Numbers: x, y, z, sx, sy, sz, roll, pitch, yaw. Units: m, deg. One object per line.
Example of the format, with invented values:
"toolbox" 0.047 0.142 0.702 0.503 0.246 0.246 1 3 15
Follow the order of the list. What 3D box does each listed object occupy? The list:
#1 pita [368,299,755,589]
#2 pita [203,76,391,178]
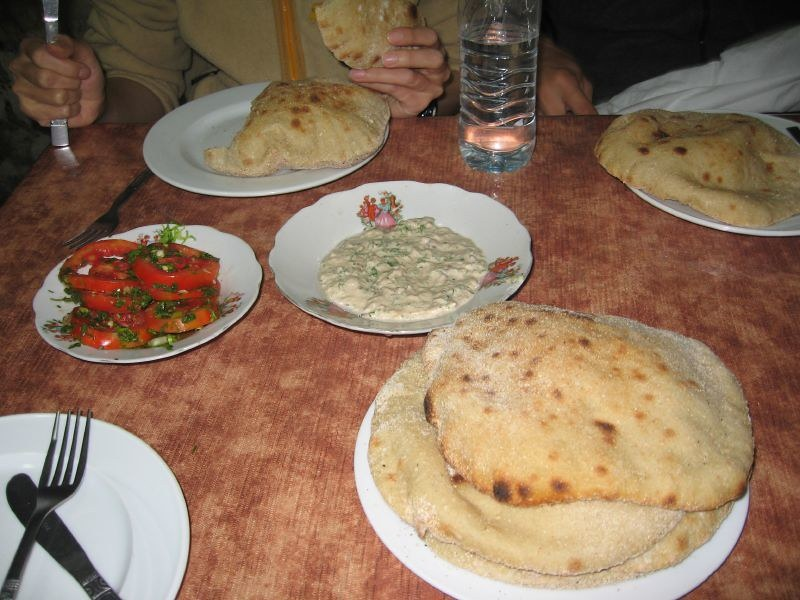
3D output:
"pita" 0.364 0.367 1.614 0.840 0.230 0.682 1 43 11
"pita" -0.459 -0.739 2.979 0.787 0.446 0.681 -21 28 -39
